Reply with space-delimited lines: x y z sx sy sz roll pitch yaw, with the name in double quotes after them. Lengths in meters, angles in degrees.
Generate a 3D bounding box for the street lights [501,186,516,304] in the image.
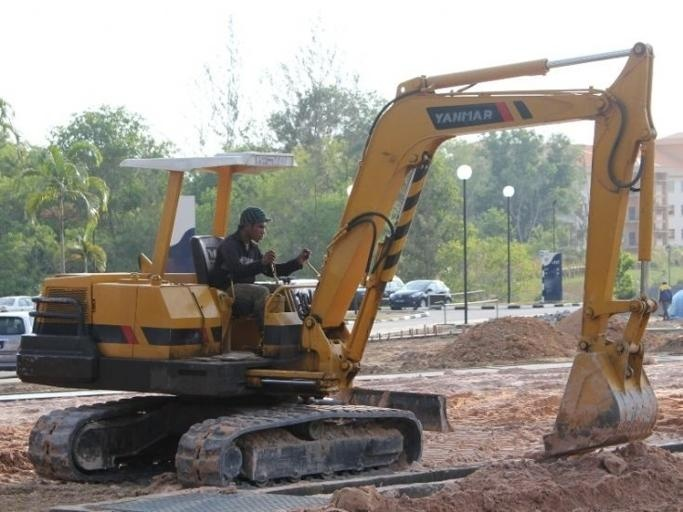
10.359 -0.923 58.488 0.790 7.201 0.992 2 -18 -1 "street lights"

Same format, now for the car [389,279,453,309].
3.704 1.741 44.720 1.311 1.217 2.480 -4 -8 33 "car"

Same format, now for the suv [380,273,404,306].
2.488 1.564 48.347 1.008 1.158 1.971 -2 -8 12 "suv"

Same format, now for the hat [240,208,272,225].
-1.168 -0.558 13.115 0.304 0.207 0.246 -4 3 -11 "hat"

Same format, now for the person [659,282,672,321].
12.636 1.658 37.395 0.452 1.478 3.116 1 1 19 "person"

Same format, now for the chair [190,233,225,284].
-1.901 0.012 13.233 0.527 0.772 0.465 0 0 42 "chair"

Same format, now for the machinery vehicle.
0.403 0.624 14.179 7.582 6.780 4.828 -1 -2 17 "machinery vehicle"
